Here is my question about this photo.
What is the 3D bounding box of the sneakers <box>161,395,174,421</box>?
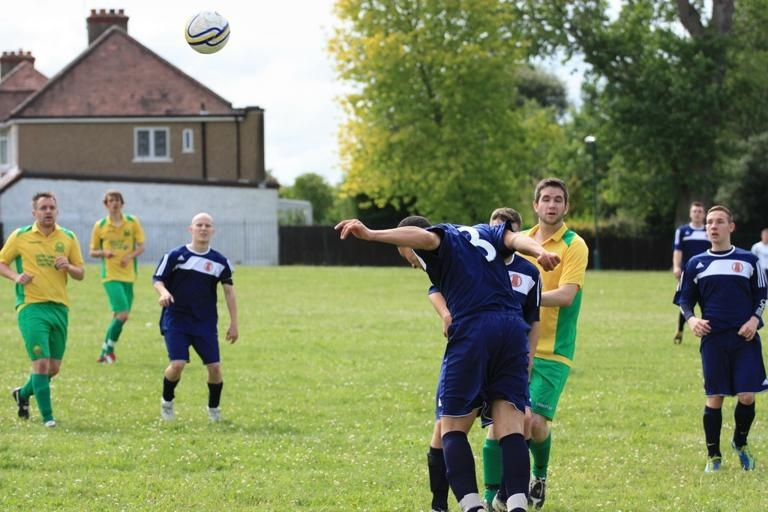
[{"bbox_3d":[-3.812,2.672,22.377,0.202,0.384,0.261,-6,4,-19],"label":"sneakers"}]

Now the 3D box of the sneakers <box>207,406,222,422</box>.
[{"bbox_3d":[-2.948,2.766,22.394,0.211,0.360,0.284,-5,-5,8],"label":"sneakers"}]

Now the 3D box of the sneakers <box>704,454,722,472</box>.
[{"bbox_3d":[5.334,3.370,20.688,0.131,0.180,0.433,-6,-30,7],"label":"sneakers"}]

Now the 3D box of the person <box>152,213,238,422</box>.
[{"bbox_3d":[-3.368,1.077,22.353,1.424,3.615,0.560,8,-8,-10],"label":"person"}]

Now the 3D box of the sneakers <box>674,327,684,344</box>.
[{"bbox_3d":[6.467,1.803,27.812,0.141,0.280,0.405,1,-18,3],"label":"sneakers"}]

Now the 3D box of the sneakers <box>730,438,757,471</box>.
[{"bbox_3d":[5.882,3.275,20.964,0.198,0.529,0.241,-25,-22,3],"label":"sneakers"}]
